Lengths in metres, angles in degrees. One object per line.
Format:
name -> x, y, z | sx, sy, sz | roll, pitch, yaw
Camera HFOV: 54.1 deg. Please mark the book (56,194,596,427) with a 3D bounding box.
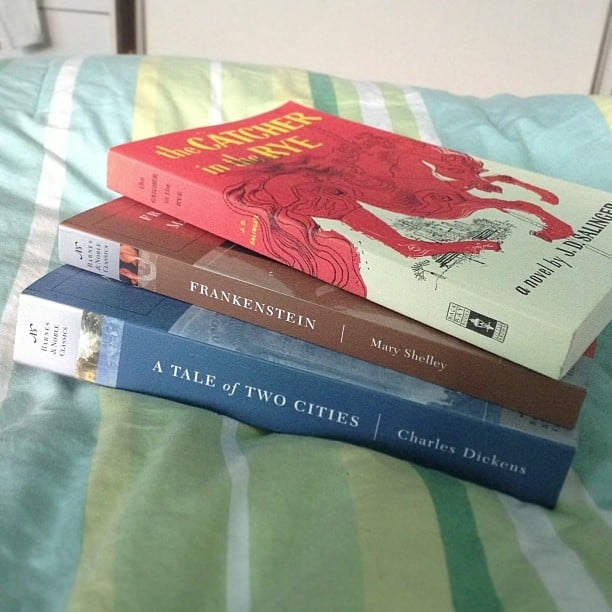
book -> 0.006, -0.029, 0.427 | 0.297, 0.032, 0.192 | 18, 10, 14
